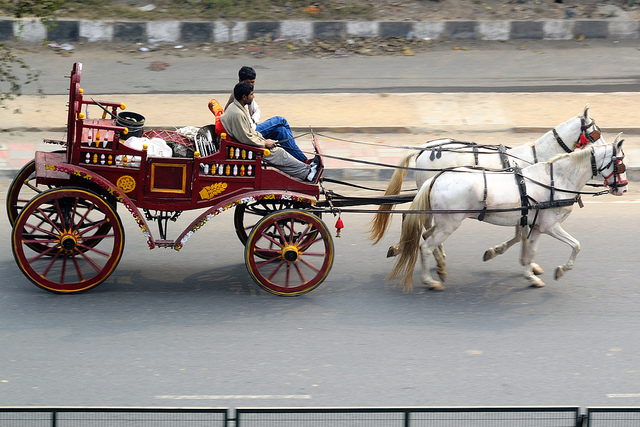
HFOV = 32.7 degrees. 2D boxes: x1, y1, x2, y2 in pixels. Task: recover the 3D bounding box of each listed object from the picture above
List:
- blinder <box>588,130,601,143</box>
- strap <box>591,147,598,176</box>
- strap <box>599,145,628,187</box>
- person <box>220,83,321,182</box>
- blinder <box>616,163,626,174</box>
[{"bbox_3d":[4.497,-1.241,17.708,0.237,0.204,0.107,-8,14,-41],"label":"blinder"},{"bbox_3d":[4.363,-0.811,17.266,0.136,0.423,0.074,-3,13,-15],"label":"strap"},{"bbox_3d":[4.646,-0.735,17.216,0.428,0.674,0.146,2,13,5],"label":"strap"},{"bbox_3d":[-0.796,-1.251,16.997,1.473,1.525,0.507,0,13,-3],"label":"person"},{"bbox_3d":[4.782,-0.705,17.233,0.096,0.169,0.247,8,11,30],"label":"blinder"}]
